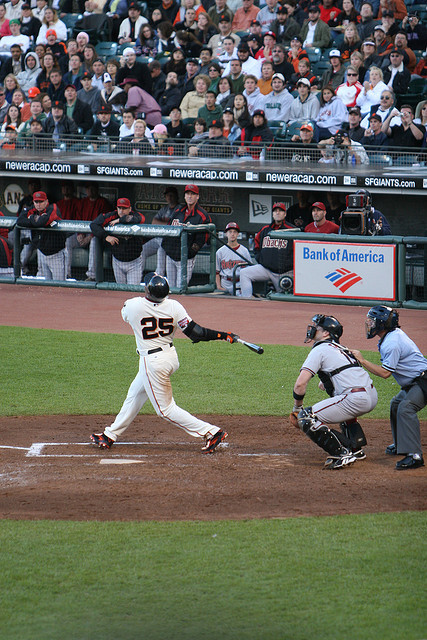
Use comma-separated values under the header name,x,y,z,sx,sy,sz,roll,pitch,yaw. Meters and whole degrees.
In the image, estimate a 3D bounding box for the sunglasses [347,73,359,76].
name,x,y,z,sx,sy,sz,roll,pitch,yaw
sunglasses,2.243,-3.923,15.122,0.148,0.048,0.041,6,12,39

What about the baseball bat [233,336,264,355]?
name,x,y,z,sx,sy,sz,roll,pitch,yaw
baseball bat,0.381,0.279,9.912,0.409,0.106,0.094,32,-21,33

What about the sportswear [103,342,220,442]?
name,x,y,z,sx,sy,sz,roll,pitch,yaw
sportswear,-0.433,0.587,7.321,1.089,0.819,0.322,1,0,24

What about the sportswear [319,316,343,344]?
name,x,y,z,sx,sy,sz,roll,pitch,yaw
sportswear,0.902,0.088,7.027,0.123,0.210,0.238,3,11,28

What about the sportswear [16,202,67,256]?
name,x,y,z,sx,sy,sz,roll,pitch,yaw
sportswear,-2.810,-1.419,15.169,0.659,0.827,0.546,1,3,19

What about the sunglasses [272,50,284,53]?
name,x,y,z,sx,sy,sz,roll,pitch,yaw
sunglasses,1.116,-4.574,16.104,0.145,0.048,0.064,0,10,12

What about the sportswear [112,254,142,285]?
name,x,y,z,sx,sy,sz,roll,pitch,yaw
sportswear,-1.330,-0.791,14.714,0.395,0.457,0.263,8,21,21

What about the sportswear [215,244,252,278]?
name,x,y,z,sx,sy,sz,roll,pitch,yaw
sportswear,0.317,-0.883,14.519,0.514,0.454,0.285,3,25,3

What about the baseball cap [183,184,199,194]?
name,x,y,z,sx,sy,sz,roll,pitch,yaw
baseball cap,-0.326,-1.986,14.418,0.161,0.109,0.212,4,6,8

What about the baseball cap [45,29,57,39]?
name,x,y,z,sx,sy,sz,roll,pitch,yaw
baseball cap,-3.466,-6.072,19.964,0.253,0.196,0.394,0,-2,-1

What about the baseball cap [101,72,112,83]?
name,x,y,z,sx,sy,sz,roll,pitch,yaw
baseball cap,-1.980,-4.443,17.333,0.219,0.184,0.352,2,15,-8

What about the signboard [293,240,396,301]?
name,x,y,z,sx,sy,sz,roll,pitch,yaw
signboard,1.895,-0.687,13.337,1.805,0.970,0.121,6,8,40

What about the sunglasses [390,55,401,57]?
name,x,y,z,sx,sy,sz,roll,pitch,yaw
sunglasses,2.924,-4.174,14.958,0.157,0.036,0.055,-1,10,7

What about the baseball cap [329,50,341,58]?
name,x,y,z,sx,sy,sz,roll,pitch,yaw
baseball cap,2.060,-4.442,15.773,0.191,0.161,0.503,-1,9,7

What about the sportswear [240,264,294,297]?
name,x,y,z,sx,sy,sz,roll,pitch,yaw
sportswear,0.658,-0.575,14.210,0.737,0.414,0.361,2,19,15

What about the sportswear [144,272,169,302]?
name,x,y,z,sx,sy,sz,roll,pitch,yaw
sportswear,-0.437,-0.275,7.155,0.154,0.119,0.230,-10,53,-13

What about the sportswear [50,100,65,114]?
name,x,y,z,sx,sy,sz,roll,pitch,yaw
sportswear,-2.774,-3.793,16.632,0.234,0.099,0.319,-1,-11,1

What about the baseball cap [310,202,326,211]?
name,x,y,z,sx,sy,sz,roll,pitch,yaw
baseball cap,1.540,-1.630,13.670,0.187,0.121,0.298,-1,9,5

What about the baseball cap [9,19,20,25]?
name,x,y,z,sx,sy,sz,roll,pitch,yaw
baseball cap,-4.405,-6.542,20.742,0.220,0.154,0.411,-4,10,-12

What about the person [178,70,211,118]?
name,x,y,z,sx,sy,sz,roll,pitch,yaw
person,-0.330,-3.929,16.645,0.443,0.705,0.778,-10,13,-38

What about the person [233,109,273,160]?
name,x,y,z,sx,sy,sz,roll,pitch,yaw
person,0.684,-2.935,15.079,0.726,0.757,0.584,2,11,24

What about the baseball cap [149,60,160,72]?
name,x,y,z,sx,sy,sz,roll,pitch,yaw
baseball cap,-1.098,-4.702,17.516,0.189,0.174,0.159,-3,10,-3

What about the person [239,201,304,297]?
name,x,y,z,sx,sy,sz,roll,pitch,yaw
person,0.885,-0.992,14.007,0.446,1.397,1.116,-12,14,-43

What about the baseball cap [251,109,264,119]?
name,x,y,z,sx,sy,sz,roll,pitch,yaw
baseball cap,0.725,-3.246,14.925,0.160,0.105,0.208,3,11,7

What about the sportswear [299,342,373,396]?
name,x,y,z,sx,sy,sz,roll,pitch,yaw
sportswear,0.910,0.380,6.917,0.534,0.421,0.266,-3,10,-3

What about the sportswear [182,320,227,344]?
name,x,y,z,sx,sy,sz,roll,pitch,yaw
sportswear,-0.068,0.106,7.284,0.260,0.162,0.098,-5,14,37

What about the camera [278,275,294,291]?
name,x,y,z,sx,sy,sz,roll,pitch,yaw
camera,1.098,-0.527,13.890,0.129,0.242,0.231,-11,13,-40

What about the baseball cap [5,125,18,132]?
name,x,y,z,sx,sy,sz,roll,pitch,yaw
baseball cap,-3.759,-3.518,17.444,0.175,0.122,0.271,-2,-13,6

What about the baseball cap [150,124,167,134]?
name,x,y,z,sx,sy,sz,roll,pitch,yaw
baseball cap,-0.955,-3.258,16.166,0.229,0.106,0.164,6,7,32

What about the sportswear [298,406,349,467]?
name,x,y,z,sx,sy,sz,roll,pitch,yaw
sportswear,0.802,0.838,6.852,0.399,0.156,0.302,41,-5,-11

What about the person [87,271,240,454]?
name,x,y,z,sx,sy,sz,roll,pitch,yaw
person,-0.397,0.365,7.278,1.100,1.415,0.374,-2,10,-1

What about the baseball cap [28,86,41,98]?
name,x,y,z,sx,sy,sz,roll,pitch,yaw
baseball cap,-3.473,-4.366,18.165,0.199,0.152,0.276,2,25,8

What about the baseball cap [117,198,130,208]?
name,x,y,z,sx,sy,sz,roll,pitch,yaw
baseball cap,-1.409,-1.798,14.637,0.176,0.141,0.332,-3,9,-5

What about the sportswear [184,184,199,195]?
name,x,y,z,sx,sy,sz,roll,pitch,yaw
sportswear,-0.313,-2.001,14.424,0.149,0.101,0.204,8,-14,11

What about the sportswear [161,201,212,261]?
name,x,y,z,sx,sy,sz,roll,pitch,yaw
sportswear,-0.416,-1.324,14.519,0.768,0.893,0.471,11,1,28

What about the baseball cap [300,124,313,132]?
name,x,y,z,sx,sy,sz,roll,pitch,yaw
baseball cap,1.457,-2.975,14.653,0.162,0.100,0.216,0,10,11

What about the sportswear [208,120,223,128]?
name,x,y,z,sx,sy,sz,roll,pitch,yaw
sportswear,0.044,-3.226,15.554,0.145,0.106,0.202,4,-13,25

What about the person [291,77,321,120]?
name,x,y,z,sx,sy,sz,roll,pitch,yaw
person,1.474,-3.528,15.444,0.541,0.803,0.509,6,16,26

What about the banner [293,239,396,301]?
name,x,y,z,sx,sy,sz,roll,pitch,yaw
banner,1.901,-0.686,13.327,1.799,0.974,0.129,6,12,41

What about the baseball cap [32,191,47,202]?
name,x,y,z,sx,sy,sz,roll,pitch,yaw
baseball cap,-2.781,-1.969,15.127,0.270,0.137,0.222,-10,12,-41

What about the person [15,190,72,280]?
name,x,y,z,sx,sy,sz,roll,pitch,yaw
person,-2.709,-1.318,15.130,0.874,1.417,0.412,2,11,24

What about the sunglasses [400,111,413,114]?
name,x,y,z,sx,sy,sz,roll,pitch,yaw
sunglasses,2.840,-3.005,13.689,0.161,0.019,0.077,-3,9,-9

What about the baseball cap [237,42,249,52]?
name,x,y,z,sx,sy,sz,roll,pitch,yaw
baseball cap,0.552,-4.825,16.711,0.212,0.258,0.271,2,21,7

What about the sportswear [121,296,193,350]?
name,x,y,z,sx,sy,sz,roll,pitch,yaw
sportswear,-0.430,0.032,7.222,0.517,0.388,0.234,-3,10,-6

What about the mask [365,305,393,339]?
name,x,y,z,sx,sy,sz,roll,pitch,yaw
mask,1.213,0.015,6.956,0.246,0.235,0.189,-1,11,5
